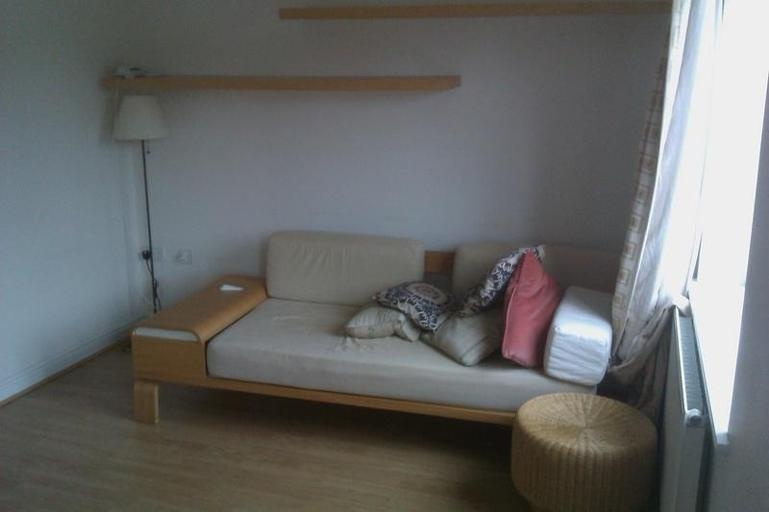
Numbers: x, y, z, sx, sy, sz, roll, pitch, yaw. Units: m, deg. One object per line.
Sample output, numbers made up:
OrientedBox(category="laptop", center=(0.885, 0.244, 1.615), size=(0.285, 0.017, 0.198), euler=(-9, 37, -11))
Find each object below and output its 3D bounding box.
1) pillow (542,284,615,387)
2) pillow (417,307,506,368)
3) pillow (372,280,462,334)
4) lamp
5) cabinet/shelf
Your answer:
OrientedBox(category="pillow", center=(0.752, 0.285, 2.291), size=(0.237, 0.178, 0.509), euler=(9, 17, 14))
OrientedBox(category="pillow", center=(0.306, 0.310, 2.287), size=(0.318, 0.154, 0.234), euler=(0, 14, -1))
OrientedBox(category="pillow", center=(0.156, 0.188, 2.483), size=(0.301, 0.093, 0.327), euler=(28, 26, 33))
OrientedBox(category="lamp", center=(-0.874, -0.153, 2.197), size=(0.171, 0.846, 0.667), euler=(-7, 16, -23))
OrientedBox(category="cabinet/shelf", center=(-0.041, -0.657, 1.908), size=(1.603, 0.277, 0.863), euler=(-6, 14, -22))
